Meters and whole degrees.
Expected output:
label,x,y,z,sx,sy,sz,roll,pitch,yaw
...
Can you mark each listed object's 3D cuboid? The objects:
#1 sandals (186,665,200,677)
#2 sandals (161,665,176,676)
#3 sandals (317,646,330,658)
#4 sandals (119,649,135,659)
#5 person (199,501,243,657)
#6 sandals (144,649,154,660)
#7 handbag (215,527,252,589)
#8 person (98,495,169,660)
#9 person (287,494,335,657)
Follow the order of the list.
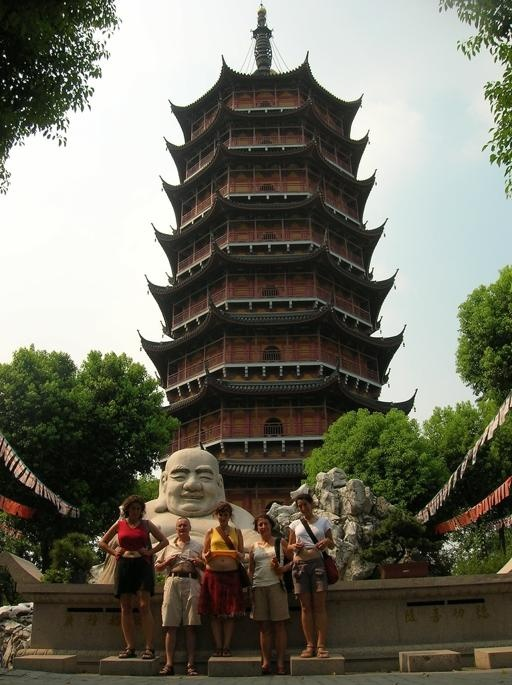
label,x,y,z,sx,sy,sz,roll,pitch,yaw
sandals,-0.574,2.956,6.578,0.073,0.087,0.210,3,-39,-4
sandals,-0.759,2.873,6.418,0.064,0.070,0.172,-15,-34,28
sandals,0.592,2.723,6.431,0.051,0.059,0.152,0,-38,-2
sandals,-1.150,2.788,6.570,0.156,0.063,0.072,10,-28,-12
person,-0.319,2.164,6.775,0.399,1.346,0.530,-8,-30,18
sandals,-0.943,2.750,6.472,0.101,0.089,0.142,4,-28,-6
handbag,-0.161,2.019,6.857,0.142,0.507,0.301,-20,3,13
person,-1.137,2.145,6.752,0.548,1.414,0.561,11,-30,-17
person,0.473,2.078,6.606,0.404,1.373,0.557,6,-29,-8
